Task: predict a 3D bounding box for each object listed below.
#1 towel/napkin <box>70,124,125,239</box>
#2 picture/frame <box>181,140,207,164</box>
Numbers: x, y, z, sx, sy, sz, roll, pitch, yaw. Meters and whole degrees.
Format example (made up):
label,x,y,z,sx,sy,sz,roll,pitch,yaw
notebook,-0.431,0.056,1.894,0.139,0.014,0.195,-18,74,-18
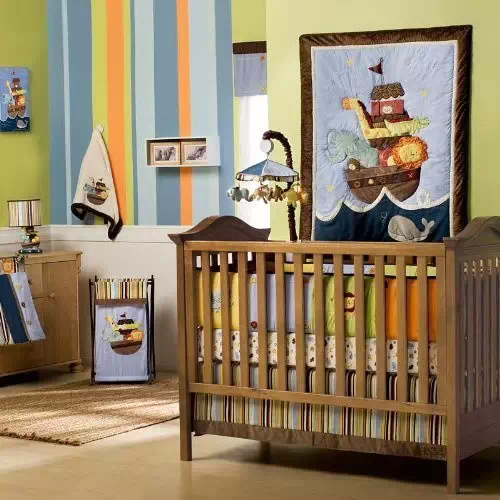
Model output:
label,x,y,z,sx,sy,sz,roll,pitch,yaw
towel/napkin,-1.039,-0.436,5.149,0.351,0.752,0.120,1,3,26
picture/frame,-0.354,-0.605,4.769,0.135,0.120,0.010,2,0,28
